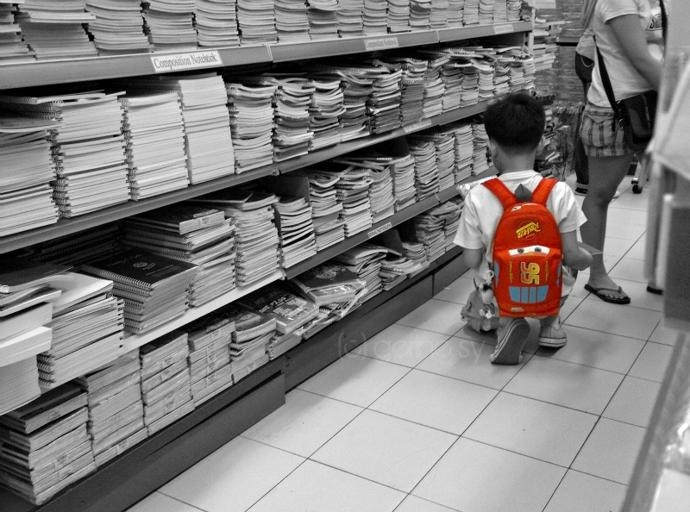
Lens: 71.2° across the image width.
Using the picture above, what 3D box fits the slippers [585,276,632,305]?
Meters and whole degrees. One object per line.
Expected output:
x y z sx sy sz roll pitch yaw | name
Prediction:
1.906 0.251 3.500 0.250 0.085 0.126 17 42 33 | slippers

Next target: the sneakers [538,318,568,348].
1.258 0.473 2.961 0.108 0.175 0.276 0 9 24 | sneakers

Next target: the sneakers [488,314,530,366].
0.960 0.508 2.892 0.168 0.363 0.159 -2 36 -11 | sneakers
